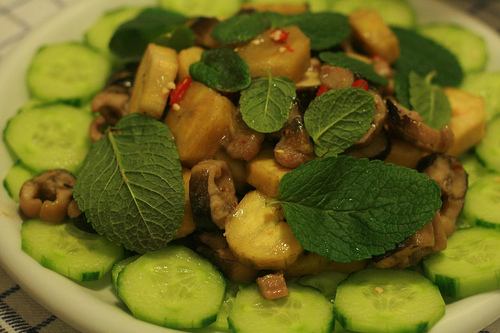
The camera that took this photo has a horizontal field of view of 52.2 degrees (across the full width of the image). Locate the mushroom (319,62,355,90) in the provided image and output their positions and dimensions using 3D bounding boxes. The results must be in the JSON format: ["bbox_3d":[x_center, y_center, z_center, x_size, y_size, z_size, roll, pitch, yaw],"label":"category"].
[{"bbox_3d":[0.759,-0.794,4.473,0.274,0.064,0.199,21,71,23],"label":"mushroom"}]

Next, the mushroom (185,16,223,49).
[{"bbox_3d":[-0.465,-1.318,4.980,0.348,0.097,0.352,15,60,9],"label":"mushroom"}]
